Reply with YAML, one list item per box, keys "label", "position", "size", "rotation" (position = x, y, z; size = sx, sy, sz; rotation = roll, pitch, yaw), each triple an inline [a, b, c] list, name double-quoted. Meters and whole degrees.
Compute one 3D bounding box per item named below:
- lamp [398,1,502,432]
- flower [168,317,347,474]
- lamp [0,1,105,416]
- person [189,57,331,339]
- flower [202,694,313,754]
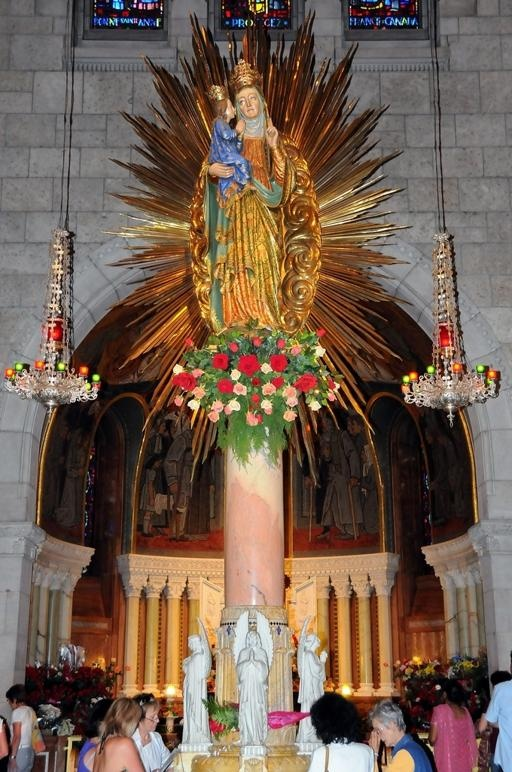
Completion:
- label: "lamp"
  position: [1.773, -2.102, 8.441]
  size: [0.901, 5.236, 1.933]
  rotation: [-5, -15, 12]
- label: "flower"
  position: [-0.053, 0.040, 5.728]
  size: [0.999, 0.824, 0.982]
  rotation: [-1, 2, -38]
- label: "lamp"
  position: [-1.953, -2.104, 8.640]
  size: [0.802, 5.115, 1.867]
  rotation: [1, -15, -11]
- label: "person"
  position: [-0.025, -1.318, 6.196]
  size: [0.934, 2.014, 0.594]
  rotation: [-2, -14, 3]
- label: "flower"
  position: [0.005, 1.919, 4.893]
  size: [0.557, 0.391, 0.223]
  rotation: [-4, -11, 3]
